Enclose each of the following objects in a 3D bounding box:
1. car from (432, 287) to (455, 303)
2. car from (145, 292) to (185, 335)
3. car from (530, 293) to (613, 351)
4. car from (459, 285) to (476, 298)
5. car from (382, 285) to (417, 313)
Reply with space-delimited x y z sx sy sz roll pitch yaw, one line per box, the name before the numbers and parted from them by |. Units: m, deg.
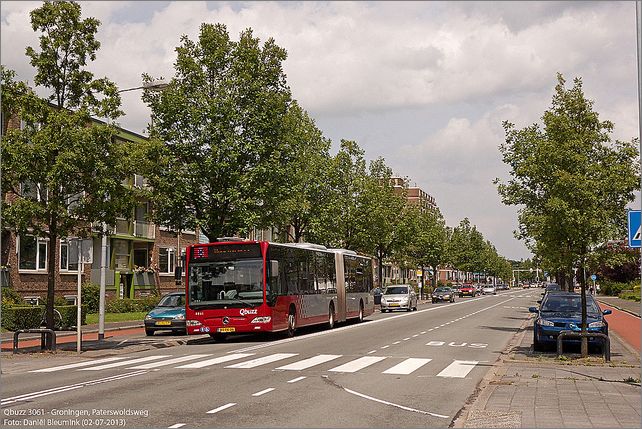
car | 13.046 8.574 66.905 1.467 1.136 3.384 -3 -13 11
car | -6.996 4.468 28.653 1.357 1.199 2.528 -2 -13 5
car | 8.710 3.681 22.034 2.566 2.134 2.411 7 -15 -41
car | 21.794 11.336 93.616 2.096 1.851 2.332 -5 -12 8
car | 6.067 6.451 48.120 1.559 1.304 2.878 -4 -14 14
